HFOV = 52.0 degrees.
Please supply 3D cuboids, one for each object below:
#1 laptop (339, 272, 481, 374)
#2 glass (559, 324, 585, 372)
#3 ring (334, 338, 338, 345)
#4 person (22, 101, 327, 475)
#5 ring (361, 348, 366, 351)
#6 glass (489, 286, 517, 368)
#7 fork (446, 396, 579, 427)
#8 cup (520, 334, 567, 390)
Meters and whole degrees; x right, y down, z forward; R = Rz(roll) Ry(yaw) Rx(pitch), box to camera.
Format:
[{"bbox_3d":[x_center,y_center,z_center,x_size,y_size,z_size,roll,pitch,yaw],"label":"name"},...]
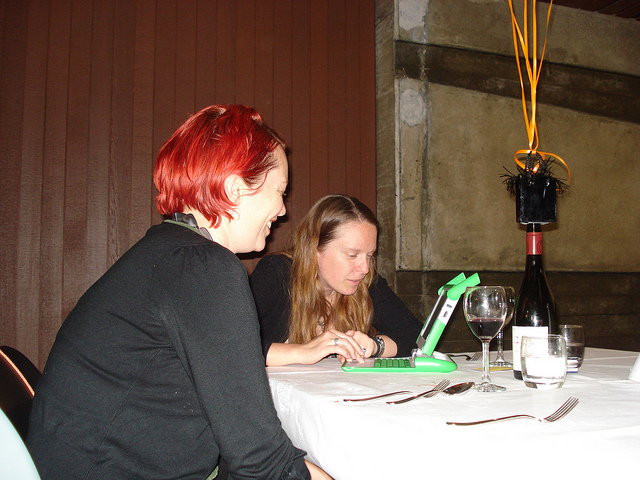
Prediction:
[{"bbox_3d":[0.287,0.286,2.306,0.463,0.341,0.309,2,-5,-1],"label":"laptop"},{"bbox_3d":[0.844,0.367,2.180,0.118,0.148,0.122,2,-12,16],"label":"glass"},{"bbox_3d":[0.055,0.363,2.350,0.011,0.014,0.015,2,-6,-2],"label":"ring"},{"bbox_3d":[-0.399,0.090,2.183,1.012,1.251,0.948,1,9,-27],"label":"person"},{"bbox_3d":[0.154,0.400,2.402,0.019,0.005,0.019,0,4,0],"label":"ring"},{"bbox_3d":[0.612,0.298,2.257,0.113,0.270,0.111,1,-2,2],"label":"glass"},{"bbox_3d":[0.528,0.454,1.713,0.410,0.038,0.095,-1,-3,-17],"label":"fork"},{"bbox_3d":[0.641,0.346,1.926,0.162,0.166,0.152,0,1,0],"label":"cup"}]
